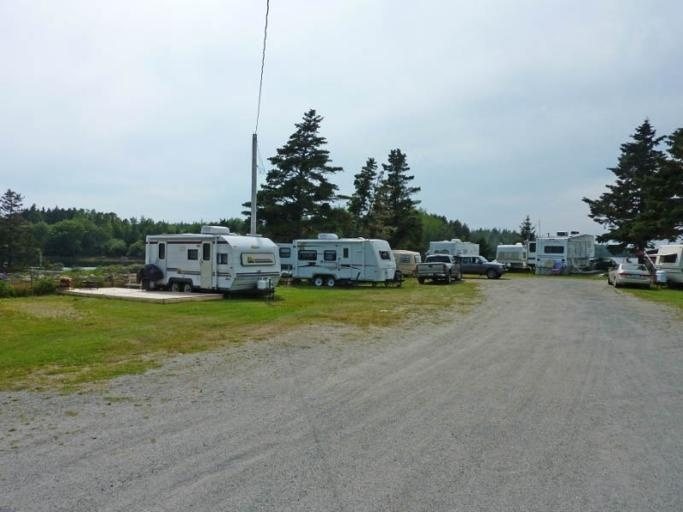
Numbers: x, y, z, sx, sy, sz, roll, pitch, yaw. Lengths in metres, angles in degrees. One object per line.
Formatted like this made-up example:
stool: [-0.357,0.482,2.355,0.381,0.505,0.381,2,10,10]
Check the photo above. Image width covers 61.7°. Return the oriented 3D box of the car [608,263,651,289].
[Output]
car: [14.253,0.937,28.235,1.400,1.206,2.445,-1,-2,12]

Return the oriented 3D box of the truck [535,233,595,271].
truck: [16.035,-0.282,41.505,2.794,2.406,2.650,-2,2,-44]

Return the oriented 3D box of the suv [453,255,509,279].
suv: [9.073,0.697,37.271,3.386,1.338,1.611,-1,1,30]

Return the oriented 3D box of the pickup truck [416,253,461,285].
pickup truck: [5.204,0.683,31.189,2.045,1.578,2.702,-1,-2,12]

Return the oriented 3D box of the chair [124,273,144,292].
chair: [-9.122,1.143,25.035,0.738,0.724,0.708,-1,-1,26]

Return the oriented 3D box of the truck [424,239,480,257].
truck: [9.258,-0.550,44.495,1.831,1.866,6.091,2,4,38]

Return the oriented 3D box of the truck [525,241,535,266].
truck: [14.510,-0.201,43.743,0.574,1.804,1.922,-1,-2,17]

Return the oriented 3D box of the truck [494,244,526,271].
truck: [13.507,0.175,45.727,2.194,1.969,1.215,0,1,14]
